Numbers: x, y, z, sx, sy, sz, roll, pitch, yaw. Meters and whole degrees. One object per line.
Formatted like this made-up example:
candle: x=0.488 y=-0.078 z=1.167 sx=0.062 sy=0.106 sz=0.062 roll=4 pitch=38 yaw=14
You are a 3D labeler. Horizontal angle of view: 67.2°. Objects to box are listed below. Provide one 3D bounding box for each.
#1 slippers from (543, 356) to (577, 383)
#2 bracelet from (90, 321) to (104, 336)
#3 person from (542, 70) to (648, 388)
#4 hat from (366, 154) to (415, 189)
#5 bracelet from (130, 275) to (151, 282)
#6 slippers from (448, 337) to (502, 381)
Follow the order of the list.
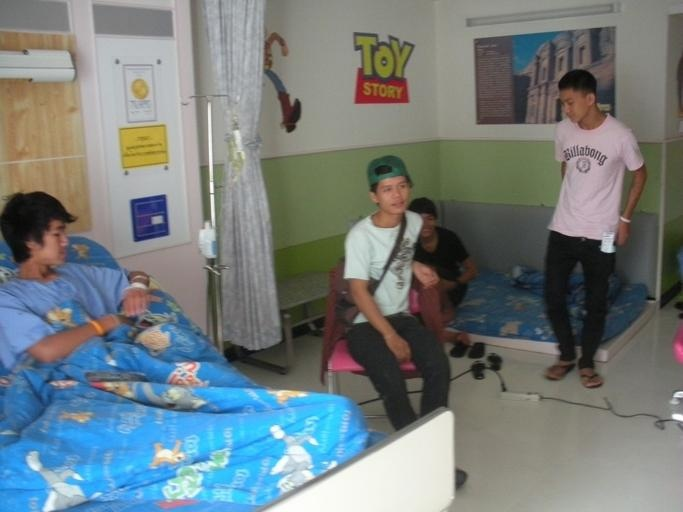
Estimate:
slippers: x=1.551 y=0.801 z=3.686 sx=0.256 sy=0.088 sz=0.106 roll=-21 pitch=26 yaw=-28
bracelet: x=-1.101 y=0.337 z=2.405 sx=0.065 sy=0.016 sz=0.063 roll=17 pitch=19 yaw=6
person: x=1.672 y=-0.170 z=3.475 sx=0.552 sy=2.084 sz=0.658 roll=4 pitch=20 yaw=24
hat: x=0.244 y=-0.477 z=2.779 sx=0.229 sy=0.133 sz=0.230 roll=-11 pitch=1 yaw=12
bracelet: x=-1.071 y=0.128 z=2.861 sx=0.057 sy=0.025 sz=0.046 roll=6 pitch=8 yaw=19
slippers: x=1.015 y=0.782 z=3.822 sx=0.248 sy=0.086 sz=0.337 roll=15 pitch=35 yaw=30
